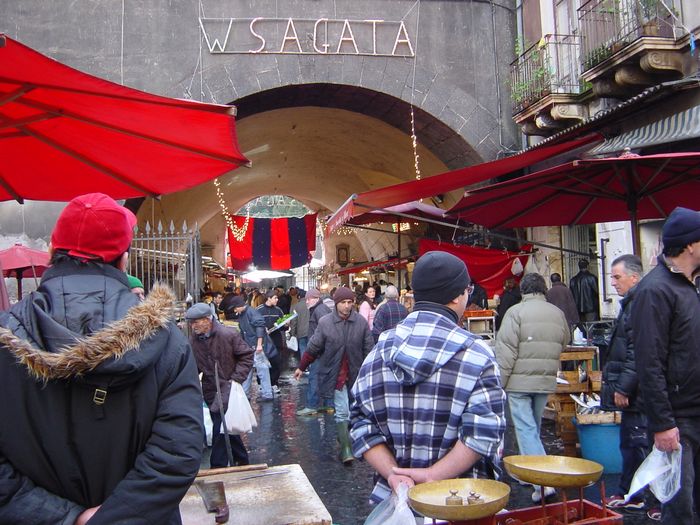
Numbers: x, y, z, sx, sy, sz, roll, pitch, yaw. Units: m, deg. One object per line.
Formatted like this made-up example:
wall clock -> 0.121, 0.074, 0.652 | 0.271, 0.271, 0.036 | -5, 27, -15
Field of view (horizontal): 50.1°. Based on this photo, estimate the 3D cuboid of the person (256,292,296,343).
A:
person -> -1.467, 1.157, 14.824 | 0.914, 1.158, 0.770 | 2, -6, -18

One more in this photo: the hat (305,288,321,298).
hat -> -0.672, 0.579, 13.778 | 0.221, 0.199, 0.166 | -12, 18, -38

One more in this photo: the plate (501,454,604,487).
plate -> 1.128, 1.181, 4.228 | 0.507, 0.156, 0.324 | -4, -6, 44

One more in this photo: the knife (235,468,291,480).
knife -> -0.655, 1.620, 5.783 | 0.398, 0.048, 0.256 | 0, -4, -11

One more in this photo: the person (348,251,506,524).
person -> 0.455, 0.617, 4.439 | 0.890, 1.373, 0.365 | 0, -4, -2

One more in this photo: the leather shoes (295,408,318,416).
leather shoes -> -0.655, 2.310, 11.528 | 0.264, 0.119, 0.127 | 10, -15, -25

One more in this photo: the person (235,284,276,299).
person -> -4.232, 1.241, 32.920 | 1.365, 0.444, 1.436 | -1, -2, 18

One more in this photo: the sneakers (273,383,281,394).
sneakers -> -1.366, 2.381, 14.037 | 0.092, 0.145, 0.153 | -12, -26, 5

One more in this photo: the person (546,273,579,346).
person -> 3.213, 0.772, 11.349 | 0.555, 1.282, 0.361 | 1, 24, 29

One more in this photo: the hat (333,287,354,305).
hat -> -0.089, 0.421, 9.676 | 0.215, 0.186, 0.216 | 5, 3, 13

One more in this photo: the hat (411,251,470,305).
hat -> 0.550, 0.063, 4.564 | 0.324, 0.286, 0.311 | -20, 20, -29
